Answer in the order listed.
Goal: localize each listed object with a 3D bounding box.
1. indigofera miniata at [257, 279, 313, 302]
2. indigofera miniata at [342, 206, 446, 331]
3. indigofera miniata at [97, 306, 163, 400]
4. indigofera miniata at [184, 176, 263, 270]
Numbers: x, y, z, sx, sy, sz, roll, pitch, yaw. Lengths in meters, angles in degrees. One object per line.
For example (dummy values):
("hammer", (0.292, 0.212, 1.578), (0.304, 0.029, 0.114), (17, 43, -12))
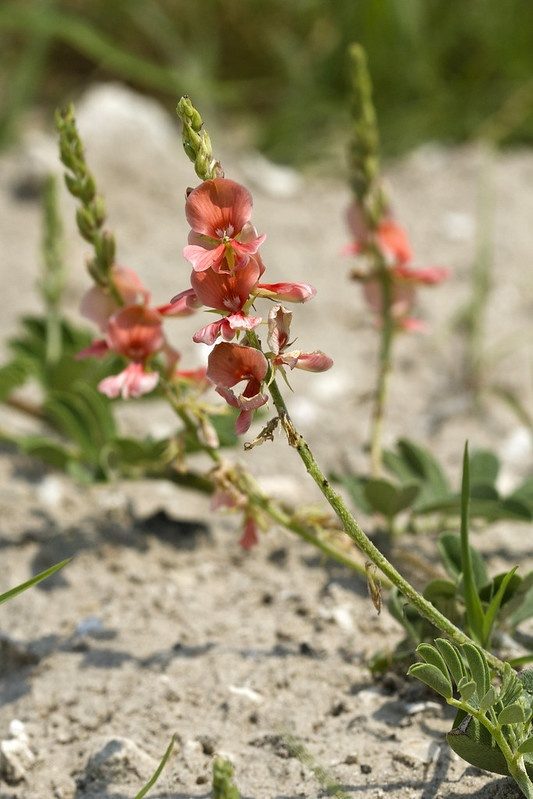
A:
("indigofera miniata", (0.021, -0.095, 0.770), (0.052, 0.018, 0.072), (-1, 4, 8))
("indigofera miniata", (0.141, -0.136, 0.854), (0.050, 0.125, 0.100), (-19, 7, -36))
("indigofera miniata", (-0.128, -0.042, 0.874), (0.065, 0.101, 0.033), (-3, -27, 17))
("indigofera miniata", (-0.035, -0.146, 0.723), (0.066, 0.079, 0.043), (-2, 5, -3))
